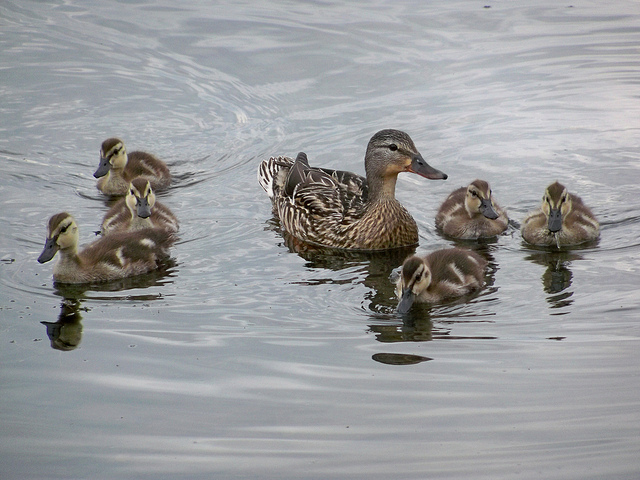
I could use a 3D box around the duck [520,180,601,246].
[{"bbox_3d":[2.872,-0.328,9.312,0.803,0.743,1.029,9,17,41],"label":"duck"}]
